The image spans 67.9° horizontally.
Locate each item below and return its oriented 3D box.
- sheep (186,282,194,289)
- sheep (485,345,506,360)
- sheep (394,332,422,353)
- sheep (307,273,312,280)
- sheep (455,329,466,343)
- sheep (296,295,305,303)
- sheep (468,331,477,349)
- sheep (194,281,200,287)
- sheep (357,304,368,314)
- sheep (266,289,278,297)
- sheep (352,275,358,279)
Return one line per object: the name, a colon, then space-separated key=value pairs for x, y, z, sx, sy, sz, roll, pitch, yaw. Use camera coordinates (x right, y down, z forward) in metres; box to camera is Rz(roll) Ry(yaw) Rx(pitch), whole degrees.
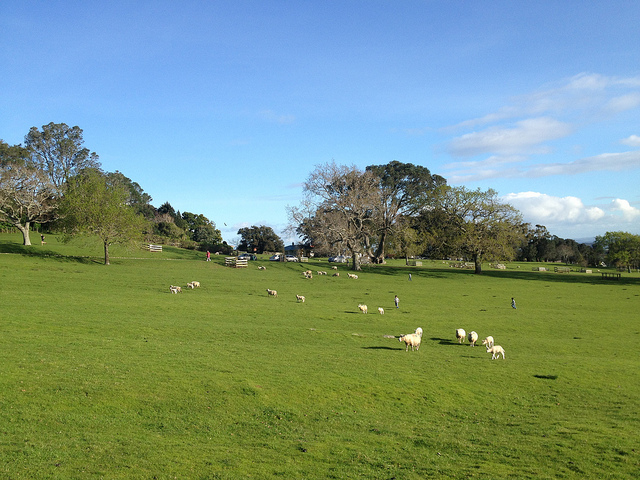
sheep: x=-17.480 y=6.252 z=63.851 sx=0.824 sy=0.521 sz=1.011 roll=0 pitch=14 yaw=-16
sheep: x=15.047 y=9.498 z=40.426 sx=1.148 sy=1.134 sz=1.466 roll=1 pitch=14 yaw=-9
sheep: x=7.943 y=8.956 z=41.587 sx=1.697 sy=1.451 sz=2.092 roll=7 pitch=14 yaw=12
sheep: x=-1.965 y=6.904 z=88.210 sx=0.517 sy=1.194 sz=2.153 roll=0 pitch=9 yaw=-20
sheep: x=13.379 y=9.129 z=44.996 sx=0.744 sy=1.329 sz=1.424 roll=7 pitch=14 yaw=16
sheep: x=-2.459 y=7.405 z=58.946 sx=0.901 sy=0.733 sz=0.882 roll=3 pitch=14 yaw=-2
sheep: x=14.105 y=9.249 z=43.719 sx=0.591 sy=1.442 sz=1.608 roll=7 pitch=14 yaw=15
sheep: x=-16.914 y=6.162 z=65.215 sx=0.498 sy=0.941 sz=1.528 roll=3 pitch=14 yaw=-2
sheep: x=5.008 y=7.944 z=54.757 sx=0.940 sy=1.031 sz=1.783 roll=4 pitch=14 yaw=4
sheep: x=-6.265 y=7.101 z=62.454 sx=1.235 sy=0.819 sz=2.548 roll=1 pitch=14 yaw=-9
sheep: x=6.718 y=7.210 z=91.186 sx=0.899 sy=0.637 sz=2.237 roll=6 pitch=14 yaw=9
